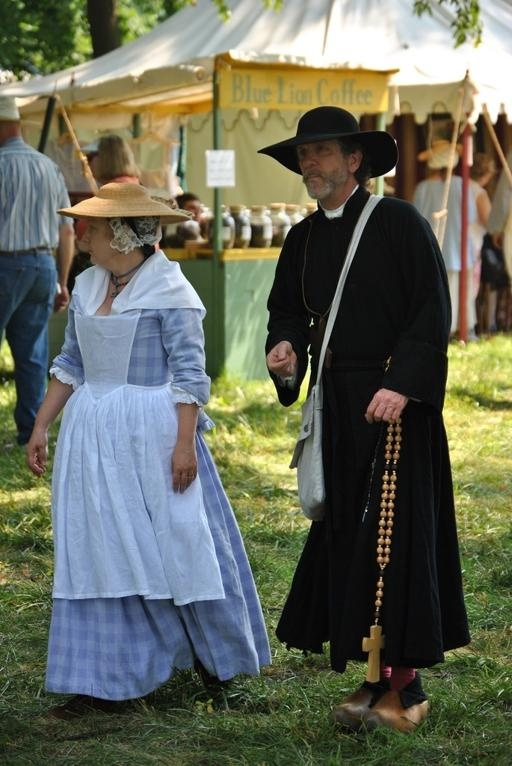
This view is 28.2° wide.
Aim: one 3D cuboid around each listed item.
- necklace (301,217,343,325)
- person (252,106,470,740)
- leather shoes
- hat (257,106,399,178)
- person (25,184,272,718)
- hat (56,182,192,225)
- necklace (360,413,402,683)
[{"bbox_3d":[0.224,-0.407,3.414,0.149,0.419,0.069,4,-3,-19],"label":"necklace"},{"bbox_3d":[0.352,0.086,3.252,0.530,1.922,0.753,-2,7,-19],"label":"person"},{"bbox_3d":[0.396,0.995,3.159,0.223,0.129,0.249,3,5,28],"label":"leather shoes"},{"bbox_3d":[0.243,-0.794,3.305,0.394,0.147,0.451,5,-2,39],"label":"hat"},{"bbox_3d":[-0.343,0.197,3.395,0.825,1.735,0.526,-1,6,-8],"label":"person"},{"bbox_3d":[-0.419,-0.590,3.366,0.279,0.060,0.244,-1,2,-14],"label":"hat"},{"bbox_3d":[0.381,0.505,3.077,0.069,0.778,0.178,3,7,22],"label":"necklace"}]
